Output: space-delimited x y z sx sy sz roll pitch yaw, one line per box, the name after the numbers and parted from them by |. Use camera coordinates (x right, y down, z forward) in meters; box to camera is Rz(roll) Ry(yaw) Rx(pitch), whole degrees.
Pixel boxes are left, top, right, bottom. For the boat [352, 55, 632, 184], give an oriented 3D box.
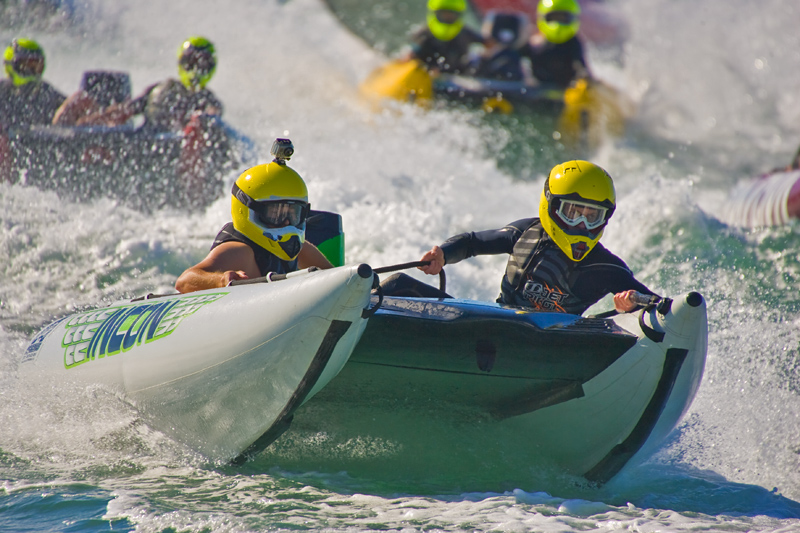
1.593 -2.522 20.324 3.486 1.268 1.697 10 15 30 | boat
